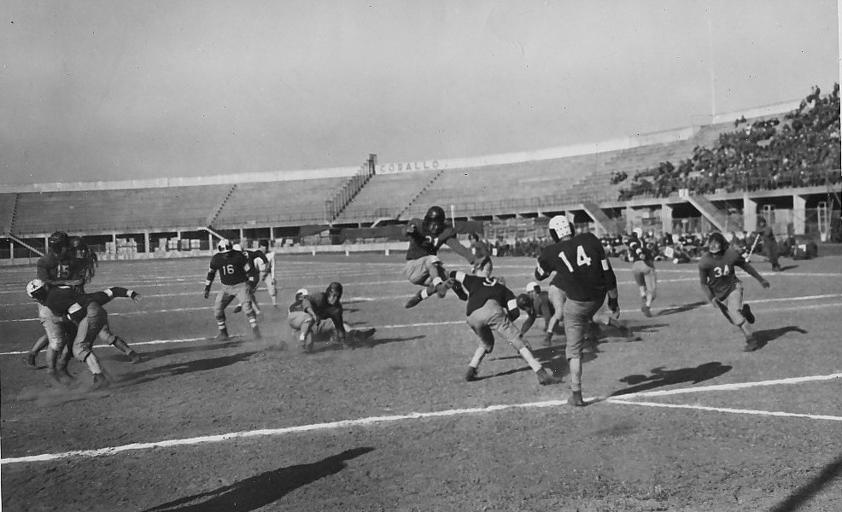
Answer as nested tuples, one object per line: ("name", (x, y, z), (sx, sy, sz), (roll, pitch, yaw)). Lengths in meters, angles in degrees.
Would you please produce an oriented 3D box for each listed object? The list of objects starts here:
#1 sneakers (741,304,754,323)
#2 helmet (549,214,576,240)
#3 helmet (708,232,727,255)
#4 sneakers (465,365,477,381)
("sneakers", (6.621, 1.166, 12.461), (0.140, 0.439, 0.174), (-15, 12, 30))
("helmet", (2.276, -0.465, 9.939), (0.331, 0.447, 0.439), (-2, 20, 13))
("helmet", (6.038, -0.242, 12.575), (0.365, 0.479, 0.481), (0, -31, 23))
("sneakers", (0.858, 2.009, 10.653), (0.204, 0.298, 0.192), (-1, 12, 6))
